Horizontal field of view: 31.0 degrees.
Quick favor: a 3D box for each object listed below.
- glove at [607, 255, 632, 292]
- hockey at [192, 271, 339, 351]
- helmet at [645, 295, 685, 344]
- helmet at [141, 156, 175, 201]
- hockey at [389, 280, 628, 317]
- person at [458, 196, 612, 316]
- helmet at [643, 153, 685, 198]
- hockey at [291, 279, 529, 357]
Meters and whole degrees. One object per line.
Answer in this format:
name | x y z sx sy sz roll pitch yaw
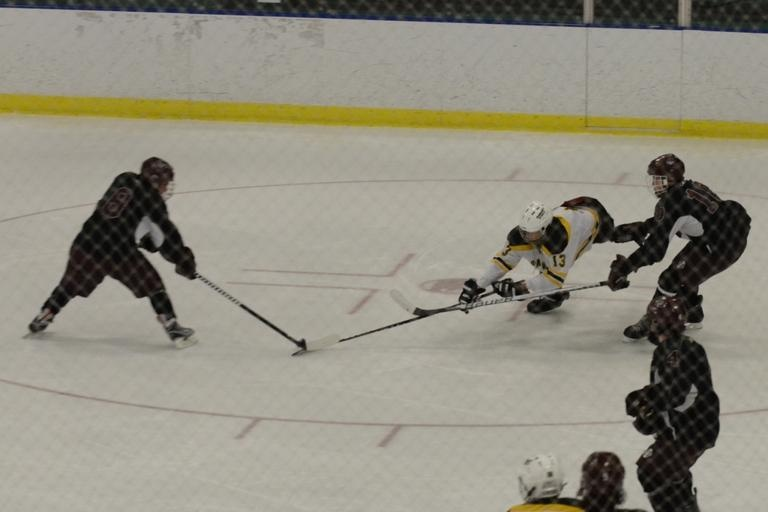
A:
glove | 2.300 0.174 13.492 0.240 0.368 0.168 4 21 -9
hockey | -1.035 0.701 13.564 1.816 0.091 0.588 32 -38 -7
helmet | 2.451 0.548 12.017 0.322 0.387 0.436 -2 4 45
helmet | -2.196 -0.759 13.412 0.353 0.408 0.274 9 -9 -30
hockey | 1.310 0.448 13.947 1.288 0.196 0.087 -11 -27 8
person | 1.532 -0.071 13.515 1.418 1.125 0.680 3 -8 8
helmet | 2.742 -0.789 13.364 0.442 0.418 0.369 7 7 28
hockey | 0.010 0.677 13.475 1.869 0.172 0.549 -11 -7 -22
